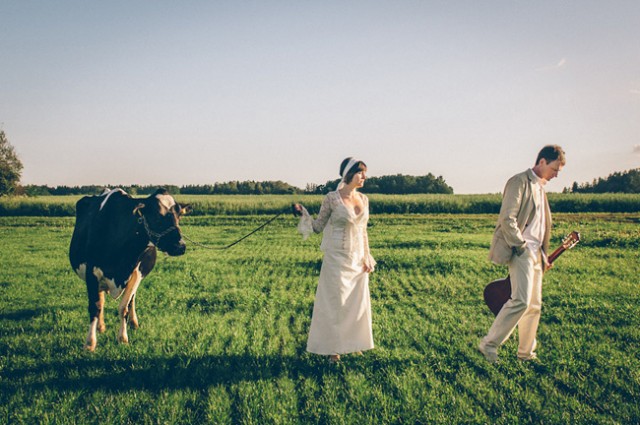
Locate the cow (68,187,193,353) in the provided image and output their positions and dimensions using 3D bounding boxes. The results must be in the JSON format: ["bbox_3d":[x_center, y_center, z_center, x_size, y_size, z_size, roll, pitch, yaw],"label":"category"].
[{"bbox_3d":[-4.625,1.260,13.360,2.823,3.671,1.450,1,4,-2],"label":"cow"}]

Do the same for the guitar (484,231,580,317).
[{"bbox_3d":[4.653,1.334,12.279,1.027,0.255,2.894,-4,-37,-30],"label":"guitar"}]
